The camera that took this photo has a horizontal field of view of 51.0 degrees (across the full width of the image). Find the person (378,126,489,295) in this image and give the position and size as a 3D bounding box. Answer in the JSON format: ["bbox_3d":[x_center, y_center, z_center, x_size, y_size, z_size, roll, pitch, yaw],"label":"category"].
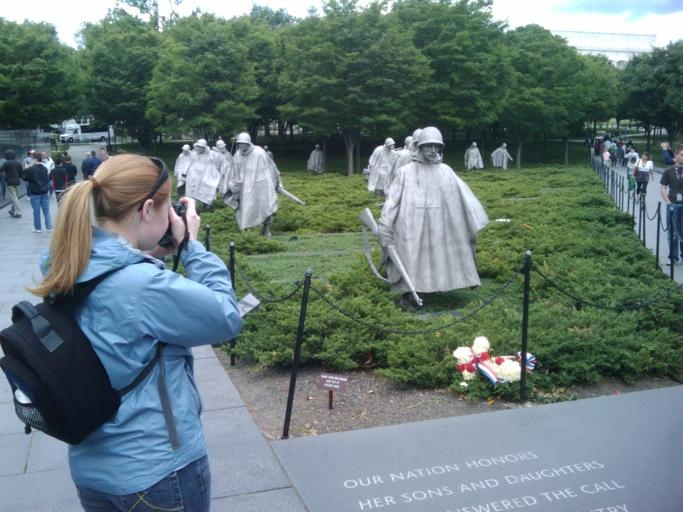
[{"bbox_3d":[1.230,-0.604,9.724,1.443,2.276,0.734,-2,14,-3],"label":"person"}]

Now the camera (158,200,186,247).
[{"bbox_3d":[-0.916,-0.184,4.029,0.213,0.224,0.095,-6,-14,27],"label":"camera"}]
